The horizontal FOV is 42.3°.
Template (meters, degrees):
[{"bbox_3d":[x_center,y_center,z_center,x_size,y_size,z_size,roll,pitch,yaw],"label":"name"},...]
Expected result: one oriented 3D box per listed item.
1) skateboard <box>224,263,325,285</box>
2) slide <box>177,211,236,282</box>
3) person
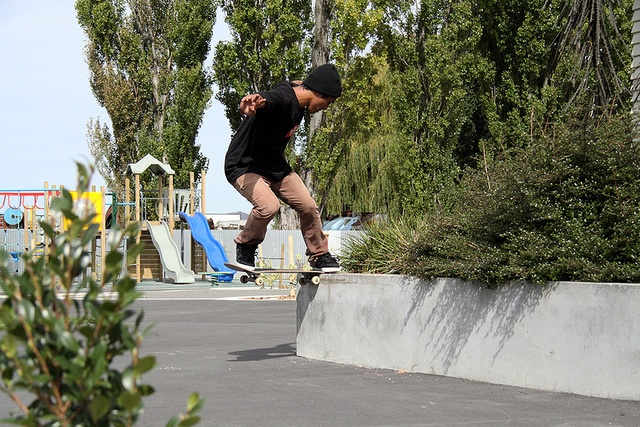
[{"bbox_3d":[-0.512,0.790,10.620,1.425,0.272,0.448,4,-7,-14],"label":"skateboard"},{"bbox_3d":[-3.618,1.081,27.078,0.687,0.597,3.370,-5,35,-33],"label":"slide"},{"bbox_3d":[-0.521,-0.532,10.019,1.447,2.618,0.922,1,-1,-4],"label":"person"}]
